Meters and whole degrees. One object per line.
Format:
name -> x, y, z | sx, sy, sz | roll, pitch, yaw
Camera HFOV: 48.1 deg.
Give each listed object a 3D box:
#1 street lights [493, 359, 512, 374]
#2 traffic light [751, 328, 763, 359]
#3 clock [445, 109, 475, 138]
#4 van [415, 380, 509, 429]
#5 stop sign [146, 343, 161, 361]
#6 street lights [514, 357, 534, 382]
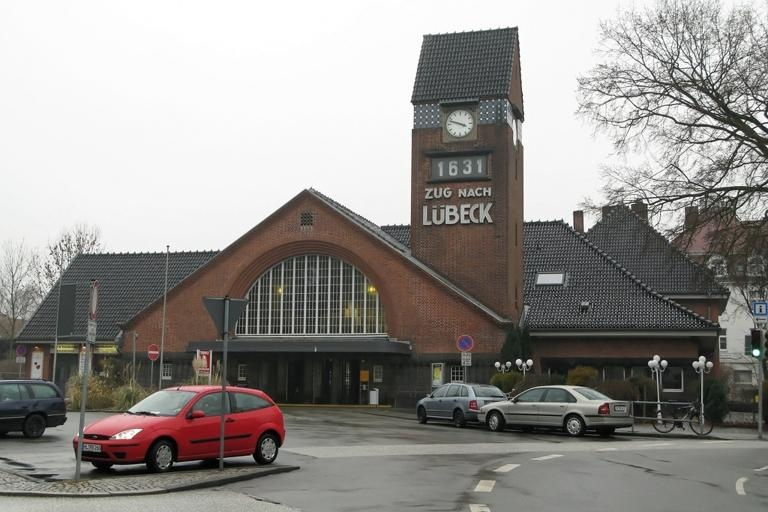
street lights -> 6.663, 6.159, 47.997 | 0.748, 0.937, 0.743 | 6, -7, -38
traffic light -> 15.961, 3.713, 36.849 | 0.439, 1.060, 0.834 | 2, 14, 21
clock -> 4.733, -8.181, 53.294 | 1.683, 1.836, 0.145 | -2, -5, 15
van -> 3.314, 6.685, 39.526 | 1.829, 1.573, 3.987 | 5, -6, -34
stop sign -> -13.634, 5.669, 50.921 | 1.487, 1.607, 0.109 | 0, 6, 41
street lights -> 7.486, 6.120, 46.503 | 0.902, 1.655, 0.385 | -1, -3, 30
